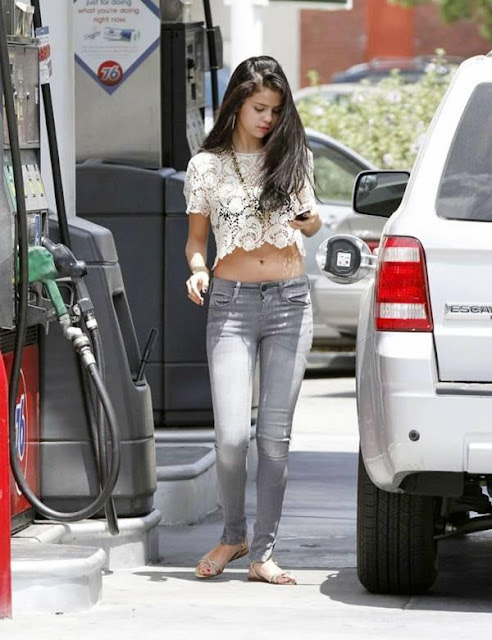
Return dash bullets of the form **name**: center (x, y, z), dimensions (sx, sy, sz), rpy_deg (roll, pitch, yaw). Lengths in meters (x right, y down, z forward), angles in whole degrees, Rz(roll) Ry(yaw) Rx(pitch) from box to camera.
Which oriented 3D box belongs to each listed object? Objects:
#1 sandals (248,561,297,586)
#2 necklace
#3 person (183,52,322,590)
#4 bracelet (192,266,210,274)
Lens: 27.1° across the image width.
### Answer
- **sandals**: center (0.080, 0.840, 3.397), dimensions (0.158, 0.064, 0.067), rpy_deg (-4, -6, 35)
- **necklace**: center (-0.001, -0.462, 3.303), dimensions (0.044, 0.357, 0.065), rpy_deg (-20, -27, 5)
- **person**: center (0.005, 0.004, 3.348), dimensions (0.439, 1.750, 0.475), rpy_deg (2, -3, -3)
- **bracelet**: center (-0.147, -0.163, 3.279), dimensions (0.031, 0.030, 0.032), rpy_deg (-1, 8, -7)
